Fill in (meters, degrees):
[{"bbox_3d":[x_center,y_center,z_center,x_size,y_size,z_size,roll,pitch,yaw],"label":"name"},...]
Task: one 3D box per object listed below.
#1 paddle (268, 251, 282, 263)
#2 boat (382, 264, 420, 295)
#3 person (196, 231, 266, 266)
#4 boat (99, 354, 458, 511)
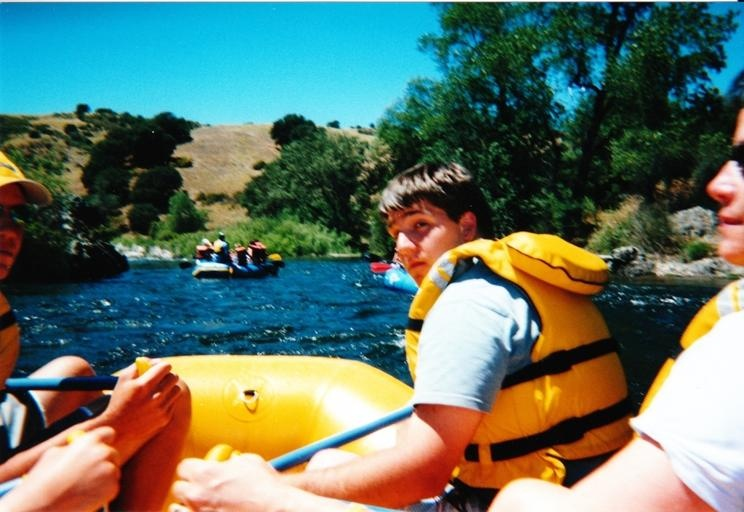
[{"bbox_3d":[-1.344,0.027,7.485,0.131,0.058,0.141,18,4,-36],"label":"paddle"},{"bbox_3d":[0.324,0.290,6.323,0.183,0.240,0.406,43,-4,-32],"label":"boat"},{"bbox_3d":[-1.874,-0.028,7.255,0.720,0.287,0.507,4,-4,11],"label":"person"},{"bbox_3d":[-0.344,0.606,1.838,0.609,0.254,0.793,1,-6,4],"label":"boat"}]
